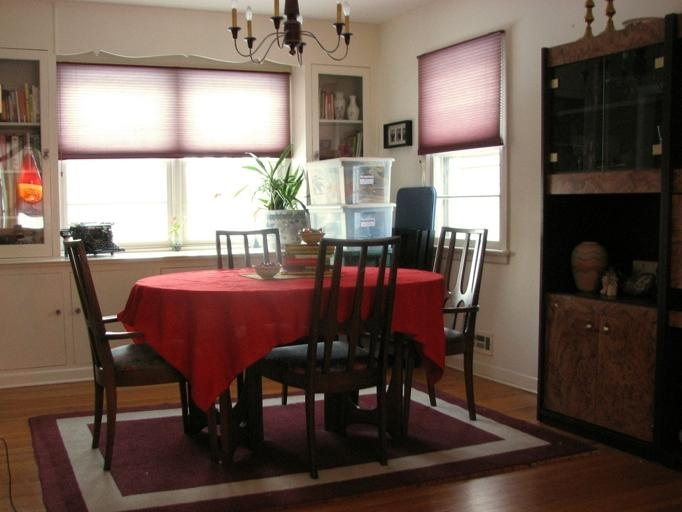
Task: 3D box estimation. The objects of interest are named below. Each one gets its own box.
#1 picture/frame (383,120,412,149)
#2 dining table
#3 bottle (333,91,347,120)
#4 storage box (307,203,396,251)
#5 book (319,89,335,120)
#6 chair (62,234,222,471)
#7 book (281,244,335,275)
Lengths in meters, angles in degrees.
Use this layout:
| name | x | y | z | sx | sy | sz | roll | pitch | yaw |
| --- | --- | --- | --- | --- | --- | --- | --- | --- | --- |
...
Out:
| name | x | y | z | sx | sy | sz | roll | pitch | yaw |
| --- | --- | --- | --- | --- | --- | --- | --- | --- | --- |
| picture/frame | 0.514 | -1.099 | 5.054 | 0.044 | 0.215 | 0.304 | 0 | 1 | -28 |
| dining table | -0.345 | 0.409 | 3.241 | 1.751 | 0.626 | 1.066 | -3 | 7 | -20 |
| bottle | -0.010 | -1.408 | 5.263 | 0.110 | 0.245 | 0.049 | -2 | 6 | -15 |
| storage box | 0.136 | -0.268 | 4.690 | 0.419 | 0.269 | 0.421 | -1 | 2 | -34 |
| book | -0.138 | -1.421 | 5.255 | 0.141 | 0.282 | 0.093 | -2 | 6 | -13 |
| chair | -1.130 | 0.446 | 3.619 | 1.084 | 1.786 | 1.052 | -2 | 5 | -24 |
| book | -0.228 | 0.020 | 3.163 | 0.240 | 0.160 | 0.182 | 0 | 1 | -7 |
